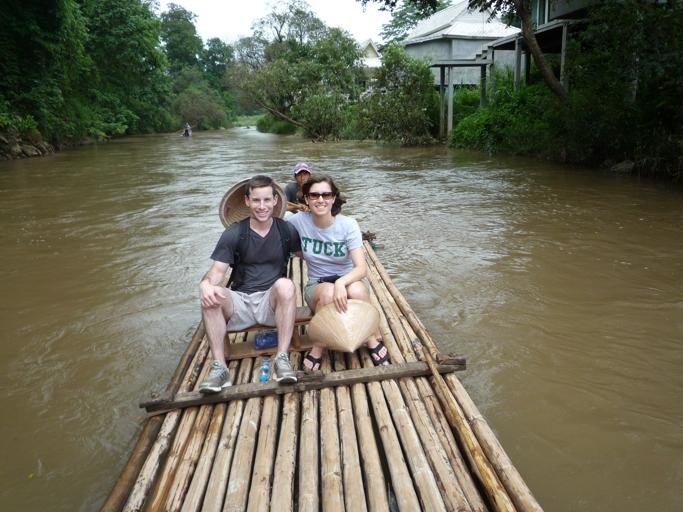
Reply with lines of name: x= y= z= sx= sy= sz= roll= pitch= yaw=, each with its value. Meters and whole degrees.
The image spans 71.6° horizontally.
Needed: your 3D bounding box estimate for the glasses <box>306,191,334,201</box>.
glasses: x=-0.182 y=-0.521 z=4.063 sx=0.220 sy=0.076 sz=0.042 roll=-4 pitch=18 yaw=-5
